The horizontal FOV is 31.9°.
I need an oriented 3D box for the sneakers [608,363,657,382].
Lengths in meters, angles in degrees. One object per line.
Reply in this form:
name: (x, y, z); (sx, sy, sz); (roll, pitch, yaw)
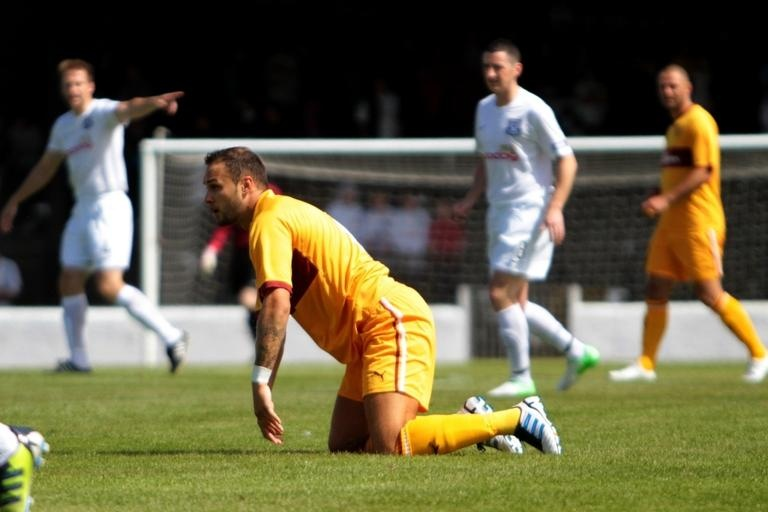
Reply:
sneakers: (2.654, 1.215, 13.973); (0.647, 0.244, 0.222); (2, -5, -4)

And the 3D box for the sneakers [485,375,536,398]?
sneakers: (1.197, 1.290, 13.154); (0.536, 0.199, 0.184); (-1, -6, -16)

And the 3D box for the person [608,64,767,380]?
person: (3.073, -0.308, 13.601); (1.336, 3.232, 0.649); (1, 3, 9)

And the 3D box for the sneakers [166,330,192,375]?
sneakers: (-2.131, 0.992, 13.857); (0.231, 0.468, 0.167); (15, -17, -20)
